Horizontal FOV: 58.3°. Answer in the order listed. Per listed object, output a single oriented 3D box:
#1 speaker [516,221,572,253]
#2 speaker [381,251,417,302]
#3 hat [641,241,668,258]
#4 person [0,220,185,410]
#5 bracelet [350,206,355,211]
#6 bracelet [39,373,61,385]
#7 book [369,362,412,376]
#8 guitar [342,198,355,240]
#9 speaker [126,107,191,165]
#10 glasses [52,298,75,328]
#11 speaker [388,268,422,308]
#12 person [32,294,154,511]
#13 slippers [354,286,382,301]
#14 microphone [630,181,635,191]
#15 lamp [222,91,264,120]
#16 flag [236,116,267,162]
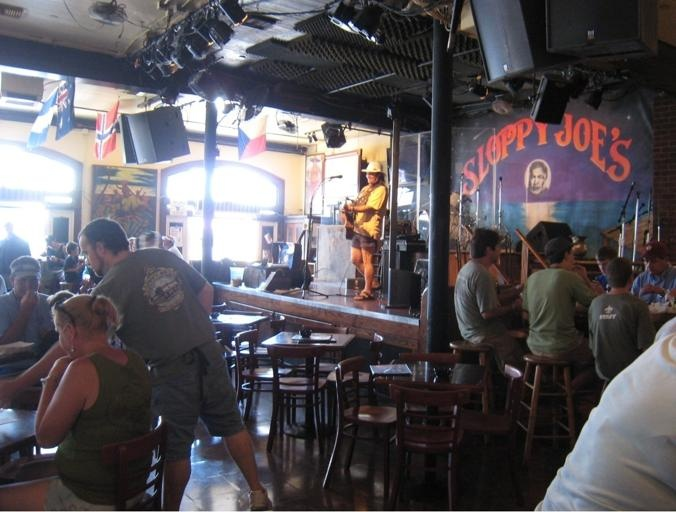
[{"bbox_3d":[2.998,-0.313,8.791,0.661,0.399,0.662,-1,3,-26],"label":"speaker"},{"bbox_3d":[0.804,0.357,8.077,0.514,0.994,0.554,0,-2,4],"label":"speaker"},{"bbox_3d":[3.395,-0.068,6.465,0.217,0.130,0.159,2,-1,-25],"label":"hat"},{"bbox_3d":[-1.841,0.426,4.421,0.432,1.426,1.396,-14,8,27],"label":"person"},{"bbox_3d":[0.199,-0.663,8.509,0.056,0.066,0.037,1,1,0],"label":"bracelet"},{"bbox_3d":[-1.575,0.676,3.336,0.088,0.039,0.103,-1,-3,0],"label":"bracelet"},{"bbox_3d":[0.429,0.932,4.884,0.326,0.060,0.414,1,1,-1],"label":"book"},{"bbox_3d":[0.139,-0.497,8.674,0.114,0.531,0.269,-3,14,12],"label":"guitar"},{"bbox_3d":[-2.698,-1.736,8.718,1.179,0.775,0.461,1,1,35],"label":"speaker"},{"bbox_3d":[-1.504,0.328,3.327,0.095,0.135,0.061,-2,-2,2],"label":"glasses"},{"bbox_3d":[0.833,0.446,7.670,0.501,0.578,0.308,2,-5,1],"label":"speaker"},{"bbox_3d":[-1.331,0.798,3.302,0.587,1.147,0.372,0,1,-21],"label":"person"},{"bbox_3d":[0.432,0.560,8.616,0.436,0.330,0.148,3,-4,-13],"label":"slippers"},{"bbox_3d":[4.635,-1.094,9.508,0.037,0.162,0.060,10,-3,44],"label":"microphone"},{"bbox_3d":[-1.493,-2.364,9.503,0.466,0.181,0.466,-7,7,-20],"label":"lamp"},{"bbox_3d":[-1.443,-1.933,10.008,0.358,0.675,0.877,0,1,-25],"label":"flag"}]
